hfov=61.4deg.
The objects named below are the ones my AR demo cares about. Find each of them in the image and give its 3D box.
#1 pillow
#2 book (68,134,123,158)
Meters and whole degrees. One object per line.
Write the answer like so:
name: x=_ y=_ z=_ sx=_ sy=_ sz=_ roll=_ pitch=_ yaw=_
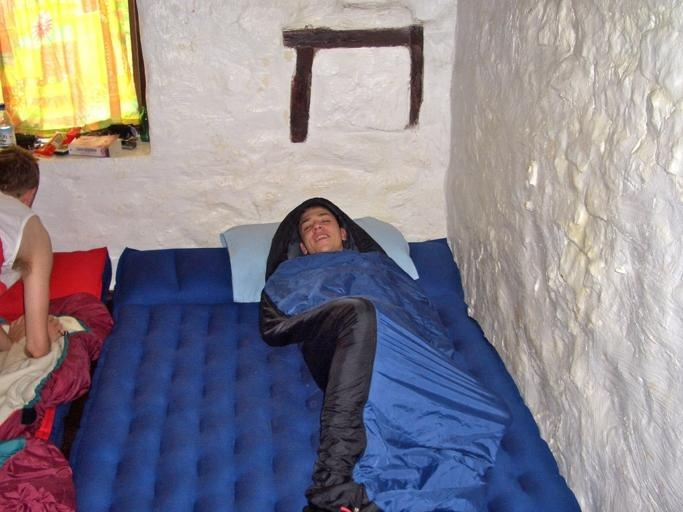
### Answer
pillow: x=-0.214 y=0.040 z=3.272 sx=0.673 sy=0.577 sz=0.174 roll=-7 pitch=-26 yaw=-8
book: x=-1.397 y=-0.620 z=3.254 sx=0.276 sy=0.110 sz=0.173 roll=1 pitch=17 yaw=6
